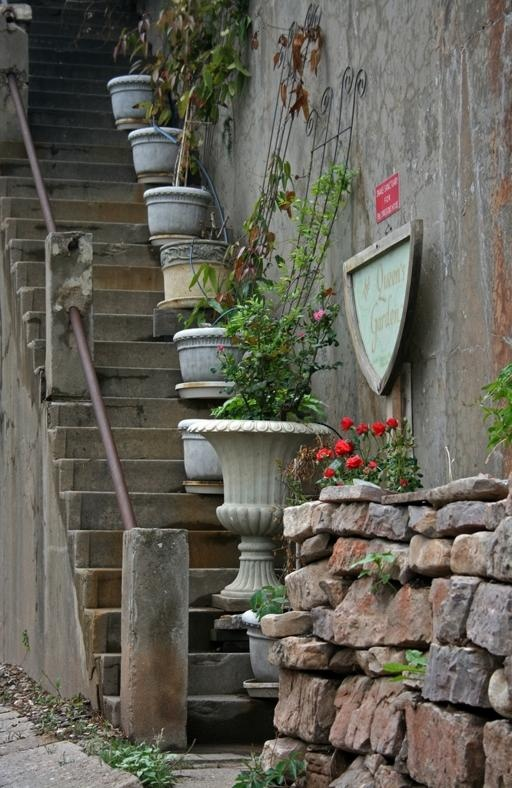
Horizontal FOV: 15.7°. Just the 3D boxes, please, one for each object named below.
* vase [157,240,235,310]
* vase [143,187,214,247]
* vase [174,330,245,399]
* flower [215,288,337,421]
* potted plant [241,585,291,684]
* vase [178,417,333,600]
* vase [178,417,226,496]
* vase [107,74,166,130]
[{"bbox_3d":[-0.319,-0.525,8.868,0.273,0.316,0.310,8,-6,-21],"label":"vase"},{"bbox_3d":[-0.417,-0.915,9.472,0.264,0.285,0.322,2,2,18],"label":"vase"},{"bbox_3d":[-0.239,-0.135,8.127,0.215,0.304,0.277,-1,-8,-3],"label":"vase"},{"bbox_3d":[0.083,-0.128,7.610,0.410,0.754,0.471,2,-16,-3],"label":"flower"},{"bbox_3d":[0.045,0.903,6.745,0.183,0.289,0.198,-13,13,-29],"label":"potted plant"},{"bbox_3d":[0.003,0.493,7.331,0.451,0.817,0.612,2,-8,-10],"label":"vase"},{"bbox_3d":[-0.235,0.274,7.819,0.192,0.386,0.242,0,-5,-8],"label":"vase"},{"bbox_3d":[-0.815,-1.770,11.395,0.259,0.330,0.284,-10,1,37],"label":"vase"}]
